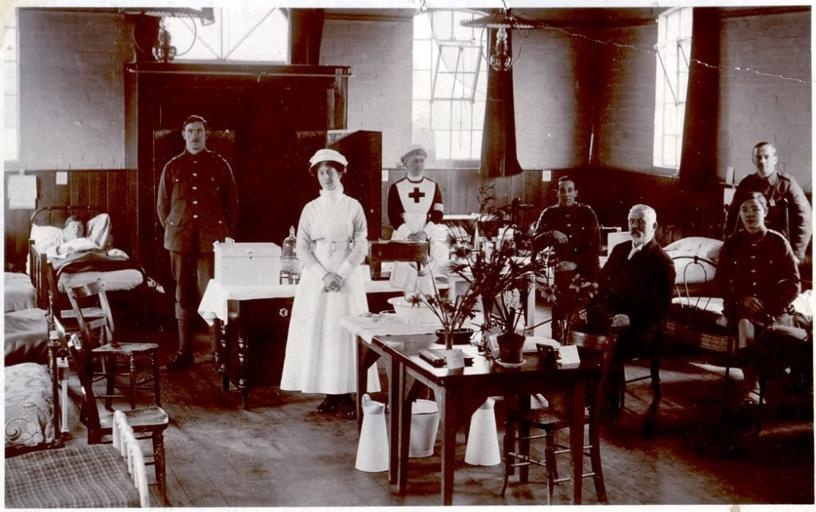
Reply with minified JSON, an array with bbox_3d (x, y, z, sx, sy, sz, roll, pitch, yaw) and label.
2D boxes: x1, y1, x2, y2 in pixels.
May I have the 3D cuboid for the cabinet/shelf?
[{"bbox_3d":[-1.867,-0.677,8.516,2.910,3.577,1.208,-1,5,-9],"label":"cabinet/shelf"}]

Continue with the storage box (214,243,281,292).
[{"bbox_3d":[-1.521,0.082,7.331,0.546,0.379,0.404,0,0,-20],"label":"storage box"}]

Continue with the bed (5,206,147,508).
[{"bbox_3d":[-2.384,0.991,5.201,0.700,1.045,2.026,-5,10,-32],"label":"bed"}]

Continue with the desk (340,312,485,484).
[{"bbox_3d":[0.095,0.767,6.010,0.953,1.405,1.908,1,2,-18],"label":"desk"}]

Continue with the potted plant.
[{"bbox_3d":[0.648,0.151,6.346,1.397,1.703,1.168,2,-2,1],"label":"potted plant"}]

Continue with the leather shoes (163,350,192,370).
[{"bbox_3d":[-2.457,1.131,8.304,0.237,0.163,0.179,0,-2,-19],"label":"leather shoes"}]

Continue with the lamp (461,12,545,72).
[{"bbox_3d":[1.158,-2.654,9.557,0.886,0.682,3.291,1,8,8],"label":"lamp"}]

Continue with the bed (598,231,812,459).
[{"bbox_3d":[3.203,0.673,7.351,1.344,1.503,2.260,0,1,-9],"label":"bed"}]

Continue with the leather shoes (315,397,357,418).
[{"bbox_3d":[-0.647,1.391,7.134,0.464,0.215,0.163,3,-3,-7],"label":"leather shoes"}]
